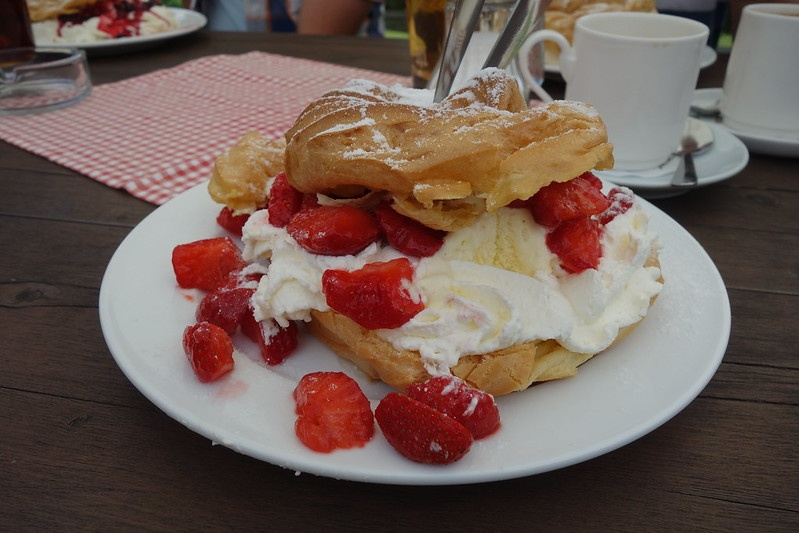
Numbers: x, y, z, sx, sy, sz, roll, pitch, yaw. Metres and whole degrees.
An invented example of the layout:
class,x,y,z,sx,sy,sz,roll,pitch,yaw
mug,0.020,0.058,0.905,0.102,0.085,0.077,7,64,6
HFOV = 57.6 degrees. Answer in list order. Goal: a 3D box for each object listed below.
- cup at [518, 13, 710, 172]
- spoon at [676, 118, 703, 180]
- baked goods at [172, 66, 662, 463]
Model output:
class,x,y,z,sx,sy,sz,roll,pitch,yaw
cup,0.701,-0.560,2.286,0.611,0.376,0.377,8,38,18
spoon,0.853,-0.331,2.144,0.079,0.038,0.280,11,39,19
baked goods,-0.061,-0.052,1.767,0.988,0.345,0.983,-18,44,-34
